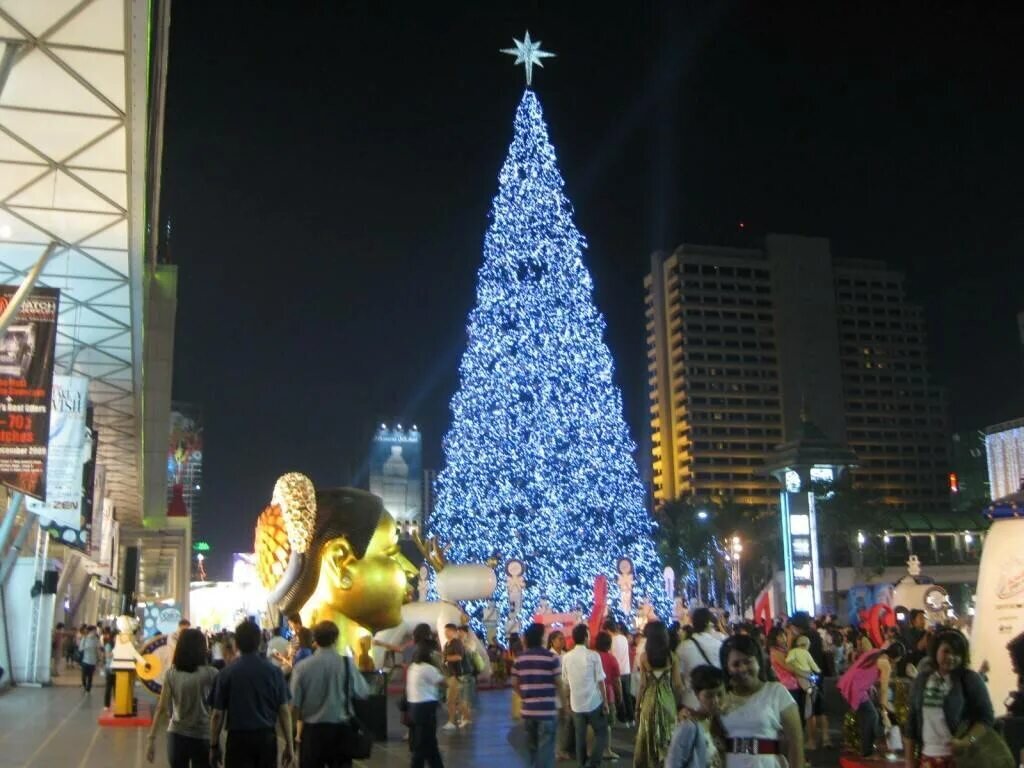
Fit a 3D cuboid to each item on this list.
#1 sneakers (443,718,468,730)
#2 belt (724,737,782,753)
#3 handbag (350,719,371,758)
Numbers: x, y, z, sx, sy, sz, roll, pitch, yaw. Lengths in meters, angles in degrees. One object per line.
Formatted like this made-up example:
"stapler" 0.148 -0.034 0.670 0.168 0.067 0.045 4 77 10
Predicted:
"sneakers" -0.967 6.105 16.650 0.489 0.211 0.170 11 -14 -24
"belt" 1.862 2.798 7.197 0.402 0.121 0.112 -1 -12 9
"handbag" -1.503 3.529 9.218 0.196 0.379 0.260 2 -11 -4
